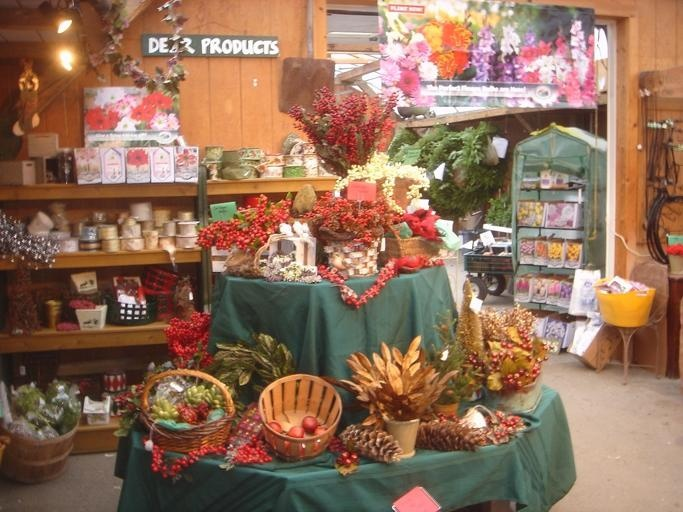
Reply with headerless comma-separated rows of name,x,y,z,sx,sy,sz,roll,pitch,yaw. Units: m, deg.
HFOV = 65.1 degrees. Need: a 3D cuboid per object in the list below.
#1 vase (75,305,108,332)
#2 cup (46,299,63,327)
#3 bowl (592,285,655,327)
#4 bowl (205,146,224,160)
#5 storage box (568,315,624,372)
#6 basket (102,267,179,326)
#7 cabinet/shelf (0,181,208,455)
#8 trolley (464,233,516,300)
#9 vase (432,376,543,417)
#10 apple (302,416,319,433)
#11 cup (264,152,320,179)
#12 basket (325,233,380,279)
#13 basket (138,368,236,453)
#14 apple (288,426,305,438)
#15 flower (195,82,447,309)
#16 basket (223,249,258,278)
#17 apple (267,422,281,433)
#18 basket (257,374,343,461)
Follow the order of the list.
vase,-1.860,0.470,3.953,0.169,0.132,0.200,0,-3,-14
cup,-2.186,0.436,4.048,0.113,0.186,0.109,3,12,-1
bowl,2.705,0.464,5.097,0.528,0.339,0.444,1,5,25
bowl,-1.010,-0.802,4.192,0.116,0.085,0.118,1,0,0
storage box,2.498,0.870,5.374,0.268,0.579,0.372,39,-17,-16
basket,-1.551,0.314,4.119,0.528,0.344,0.381,1,-1,-27
cabinet/shelf,-1.725,0.413,3.793,2.043,1.835,0.591,-2,2,-18
trolley,2.162,0.189,7.976,0.583,0.747,0.848,1,0,5
vase,0.919,0.764,2.913,0.311,0.114,0.291,-5,-2,-24
apple,-0.154,0.822,2.622,0.073,0.069,0.068,2,0,-21
cup,-0.410,-0.700,4.245,0.358,0.124,0.234,-2,4,-6
basket,0.058,0.002,2.890,0.238,0.163,0.226,1,4,35
basket,-0.801,0.713,2.706,0.393,0.310,0.426,-5,10,-33
apple,-0.214,0.834,2.537,0.054,0.064,0.056,10,8,13
flower,-0.123,-0.389,3.306,1.377,1.164,1.120,-2,9,-1
basket,-0.552,0.056,3.003,0.173,0.165,0.146,-2,-9,21
apple,-0.325,0.827,2.593,0.048,0.035,0.036,37,9,21
basket,-0.207,0.781,2.621,0.392,0.319,0.350,0,13,-13
